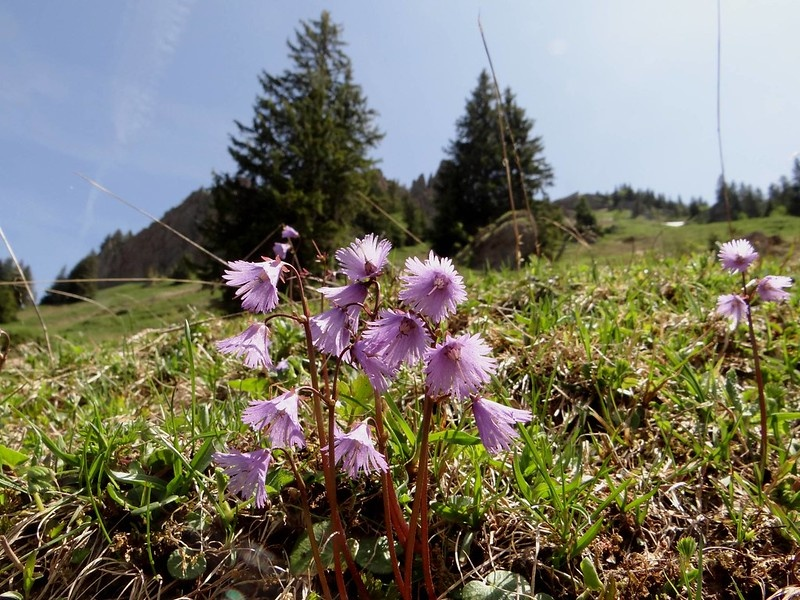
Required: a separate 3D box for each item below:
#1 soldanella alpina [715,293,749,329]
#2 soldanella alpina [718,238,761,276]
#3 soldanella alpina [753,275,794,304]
[{"bbox_3d":[1.744,0.046,3.146,0.120,0.166,0.385,4,-1,28],"label":"soldanella alpina"},{"bbox_3d":[1.767,-0.227,3.141,0.169,0.175,0.254,5,0,32],"label":"soldanella alpina"},{"bbox_3d":[1.940,-0.053,3.126,0.148,0.135,0.270,5,0,33],"label":"soldanella alpina"}]
